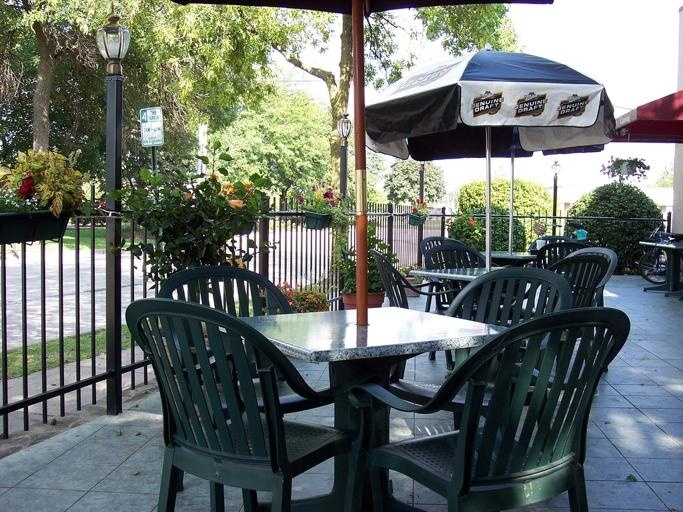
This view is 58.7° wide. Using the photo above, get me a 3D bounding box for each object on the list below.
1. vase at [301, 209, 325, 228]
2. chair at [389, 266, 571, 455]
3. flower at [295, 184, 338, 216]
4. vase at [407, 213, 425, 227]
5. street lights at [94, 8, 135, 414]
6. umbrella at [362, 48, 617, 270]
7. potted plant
[{"bbox_3d":[-0.340,-0.432,7.325,0.244,0.164,0.181,-2,8,-35],"label":"vase"},{"bbox_3d":[0.862,0.584,3.967,1.029,1.335,0.980,5,-4,-29],"label":"chair"},{"bbox_3d":[-0.331,-0.705,7.694,0.383,0.361,0.503,13,10,23],"label":"flower"},{"bbox_3d":[1.281,-0.586,10.123,0.173,0.144,0.258,26,16,39],"label":"vase"},{"bbox_3d":[-1.747,-0.361,4.664,0.229,3.089,0.637,-1,5,-22],"label":"street lights"},{"bbox_3d":[1.222,-1.229,5.747,2.117,1.533,2.036,-1,0,-5],"label":"umbrella"},{"bbox_3d":[0.286,0.293,8.724,0.787,1.071,0.698,-5,-8,37],"label":"potted plant"}]
